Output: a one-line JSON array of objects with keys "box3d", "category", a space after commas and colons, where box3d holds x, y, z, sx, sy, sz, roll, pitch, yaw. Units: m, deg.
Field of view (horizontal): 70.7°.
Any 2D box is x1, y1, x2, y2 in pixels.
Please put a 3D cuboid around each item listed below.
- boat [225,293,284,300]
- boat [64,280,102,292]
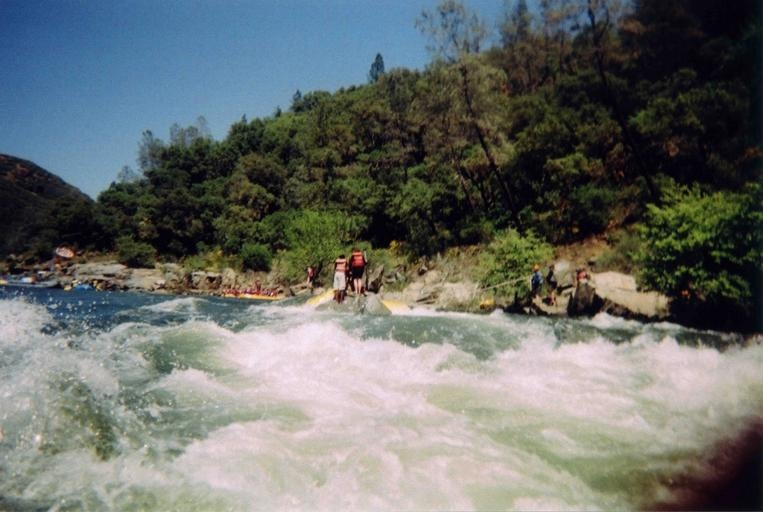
[{"box3d": [-8.308, 2.673, 34.334, 2.524, 0.367, 7.901, 3, -5, -39], "category": "boat"}, {"box3d": [-21.534, 2.144, 38.536, 2.328, 0.741, 5.012, 1, -4, -18], "category": "boat"}]
